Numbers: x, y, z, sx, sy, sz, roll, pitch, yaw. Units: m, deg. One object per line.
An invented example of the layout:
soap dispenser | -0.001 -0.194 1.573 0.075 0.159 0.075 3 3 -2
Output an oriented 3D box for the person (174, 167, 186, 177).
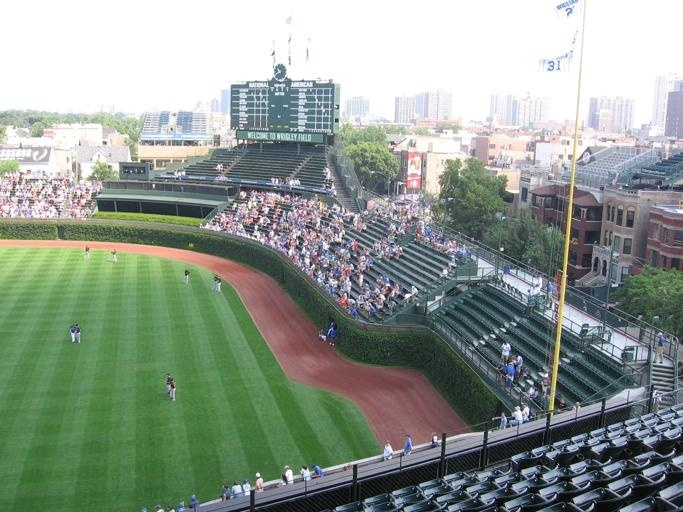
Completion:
person | -20.103 -10.201 76.099 1.231 0.629 1.675 -2 24 -11

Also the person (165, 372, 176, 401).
person | -9.183 6.996 32.937 0.665 0.824 1.295 1 35 -13

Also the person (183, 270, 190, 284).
person | -13.350 1.707 52.636 0.523 1.193 2.293 -2 15 -15

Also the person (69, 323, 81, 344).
person | -16.892 4.911 38.816 0.548 1.115 0.659 -3 15 -21
